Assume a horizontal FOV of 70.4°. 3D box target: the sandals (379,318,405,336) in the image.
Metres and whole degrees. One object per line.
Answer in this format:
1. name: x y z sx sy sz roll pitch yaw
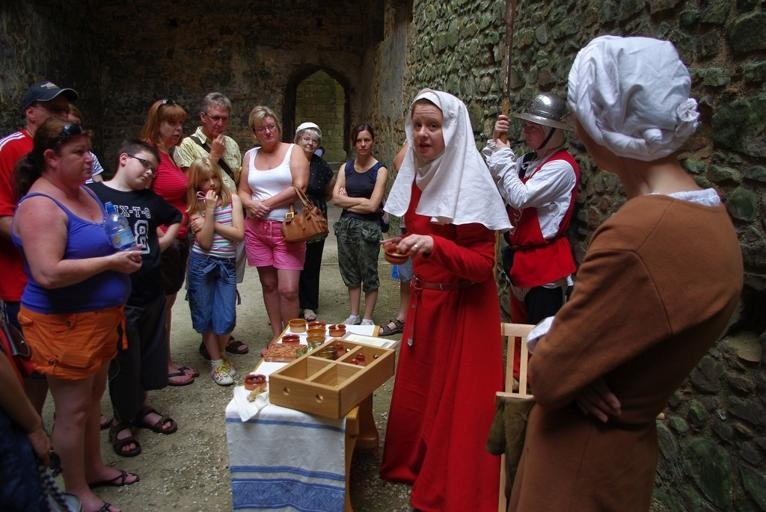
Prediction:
1. sandals: 0.101 0.693 5.288 0.278 0.112 0.096 -1 -3 -31

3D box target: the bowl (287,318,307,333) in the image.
1. bowl: -0.601 0.477 3.808 0.096 0.059 0.098 1 20 0

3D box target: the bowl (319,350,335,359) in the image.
1. bowl: -0.334 0.597 3.326 0.051 0.040 0.053 1 -3 0

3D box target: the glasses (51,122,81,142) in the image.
1. glasses: -1.677 -0.661 2.874 0.100 0.038 0.102 -22 16 15

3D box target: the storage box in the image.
1. storage box: -0.284 0.701 3.215 0.450 0.174 0.724 7 10 24

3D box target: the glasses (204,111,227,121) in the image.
1. glasses: -1.452 -1.217 4.774 0.203 0.059 0.098 -4 17 -34

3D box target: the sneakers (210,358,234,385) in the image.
1. sneakers: -1.311 0.951 4.444 0.106 0.130 0.319 -2 -1 -23

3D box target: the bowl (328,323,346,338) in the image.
1. bowl: -0.306 0.509 3.734 0.086 0.055 0.088 0 0 0

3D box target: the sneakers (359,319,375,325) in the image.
1. sneakers: -0.150 0.633 5.237 0.139 0.060 0.051 4 -1 -40

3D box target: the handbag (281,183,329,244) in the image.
1. handbag: -0.709 -0.371 4.683 0.397 0.521 0.200 -12 -4 21

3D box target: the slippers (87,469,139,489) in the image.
1. slippers: -1.671 1.383 3.361 0.236 0.057 0.107 -2 10 -23

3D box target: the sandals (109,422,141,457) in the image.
1. sandals: -1.763 1.226 3.721 0.124 0.147 0.331 -2 8 -40

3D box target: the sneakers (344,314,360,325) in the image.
1. sneakers: -0.306 0.632 5.369 0.197 0.087 0.067 -1 2 -28

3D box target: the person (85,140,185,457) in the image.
1. person: -1.700 0.292 3.787 0.806 2.103 0.644 -7 17 -38

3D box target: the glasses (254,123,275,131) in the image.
1. glasses: -1.009 -1.086 4.628 0.169 0.069 0.054 2 14 -14

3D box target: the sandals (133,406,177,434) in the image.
1. sandals: -1.626 1.158 3.894 0.311 0.091 0.152 5 25 22
